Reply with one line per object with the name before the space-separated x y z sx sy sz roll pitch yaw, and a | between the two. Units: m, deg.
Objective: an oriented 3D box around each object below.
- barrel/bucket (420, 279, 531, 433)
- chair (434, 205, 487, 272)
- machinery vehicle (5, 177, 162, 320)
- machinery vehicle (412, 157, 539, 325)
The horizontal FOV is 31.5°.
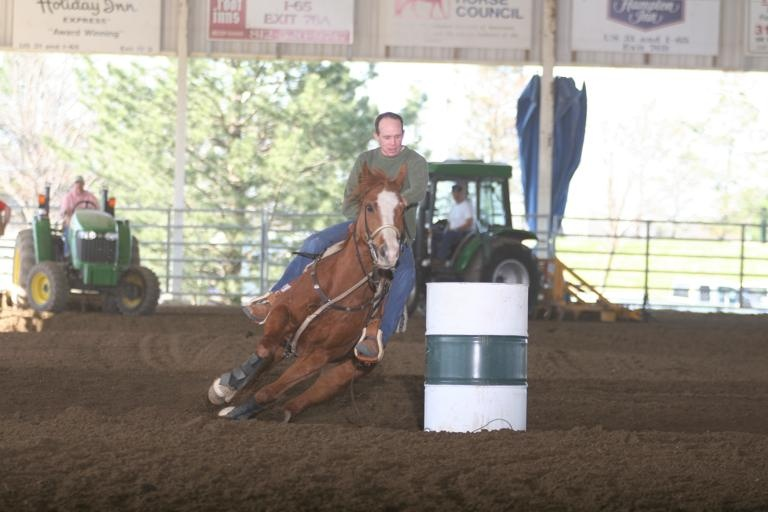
barrel/bucket | 1.636 1.564 20.951 1.917 3.168 2.034 2 -5 0
chair | 1.368 -0.485 27.322 0.793 1.346 0.726 4 0 -23
machinery vehicle | -5.981 -0.142 27.308 2.473 2.789 3.542 4 -4 -30
machinery vehicle | 1.402 -0.185 28.153 2.738 3.468 3.767 -2 -4 9
